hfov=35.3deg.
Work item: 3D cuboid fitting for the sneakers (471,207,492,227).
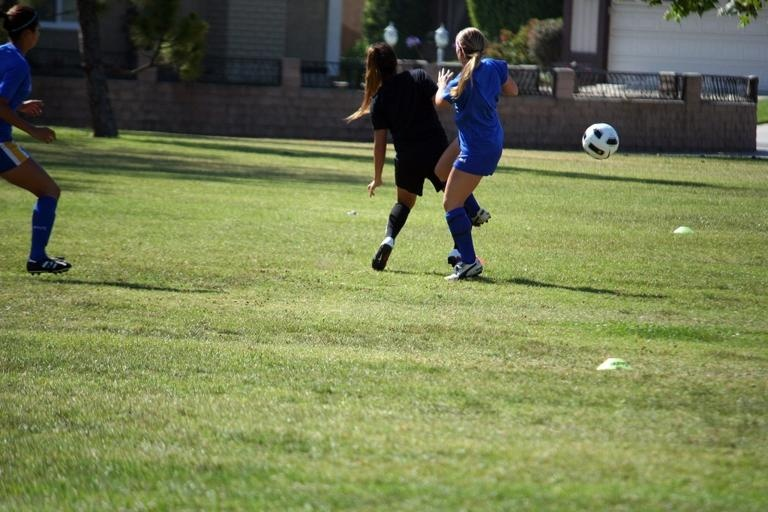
[{"bbox_3d":[0.949,-0.371,12.060,0.291,0.136,0.107,-32,3,46],"label":"sneakers"}]

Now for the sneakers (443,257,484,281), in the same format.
[{"bbox_3d":[0.784,0.140,11.454,0.464,0.170,0.146,-6,7,-15],"label":"sneakers"}]

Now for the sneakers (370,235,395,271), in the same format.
[{"bbox_3d":[0.004,-0.023,11.580,0.165,0.358,0.162,42,18,20],"label":"sneakers"}]

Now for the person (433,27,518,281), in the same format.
[{"bbox_3d":[0.812,-0.961,11.357,0.746,2.318,0.560,5,12,5],"label":"person"}]

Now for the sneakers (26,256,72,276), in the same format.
[{"bbox_3d":[-2.986,0.089,10.817,0.443,0.174,0.160,-3,5,0],"label":"sneakers"}]
